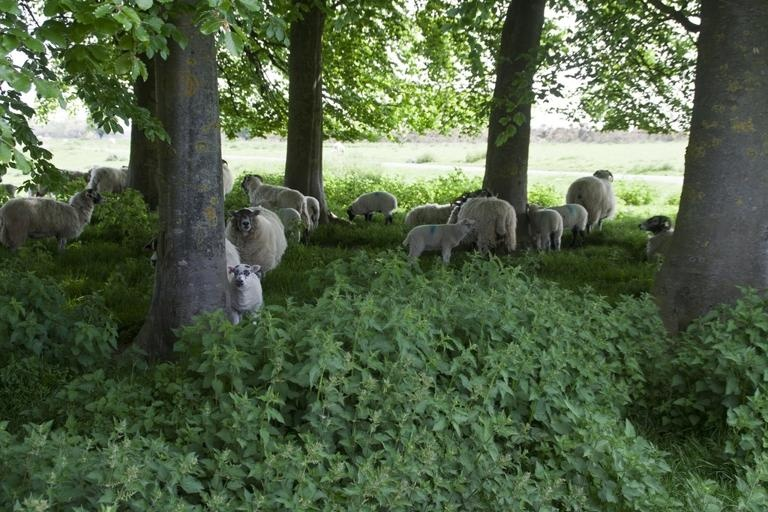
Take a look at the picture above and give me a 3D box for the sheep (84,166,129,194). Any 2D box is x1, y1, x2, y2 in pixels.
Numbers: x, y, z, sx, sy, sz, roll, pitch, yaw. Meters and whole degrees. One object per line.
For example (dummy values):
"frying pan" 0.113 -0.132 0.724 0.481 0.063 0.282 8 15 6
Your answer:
"sheep" -8.880 -2.460 18.819 0.717 0.793 1.671 5 8 4

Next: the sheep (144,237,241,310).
"sheep" -2.909 0.147 8.703 0.868 1.326 1.841 2 7 -1

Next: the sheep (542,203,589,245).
"sheep" 4.461 -0.745 14.808 2.039 1.090 0.470 -6 1 -32

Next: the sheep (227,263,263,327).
"sheep" -1.966 0.499 8.009 0.398 0.799 0.872 6 8 11

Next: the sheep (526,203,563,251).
"sheep" 3.768 -0.631 13.693 0.491 1.034 1.158 -1 -3 41

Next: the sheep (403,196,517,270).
"sheep" 1.757 -0.587 12.336 2.493 1.379 1.045 -3 11 -44

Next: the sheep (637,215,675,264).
"sheep" 5.906 -0.355 12.735 0.662 0.553 1.294 -23 18 27

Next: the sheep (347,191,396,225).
"sheep" -0.384 -1.627 19.068 1.504 1.034 0.586 8 9 21
